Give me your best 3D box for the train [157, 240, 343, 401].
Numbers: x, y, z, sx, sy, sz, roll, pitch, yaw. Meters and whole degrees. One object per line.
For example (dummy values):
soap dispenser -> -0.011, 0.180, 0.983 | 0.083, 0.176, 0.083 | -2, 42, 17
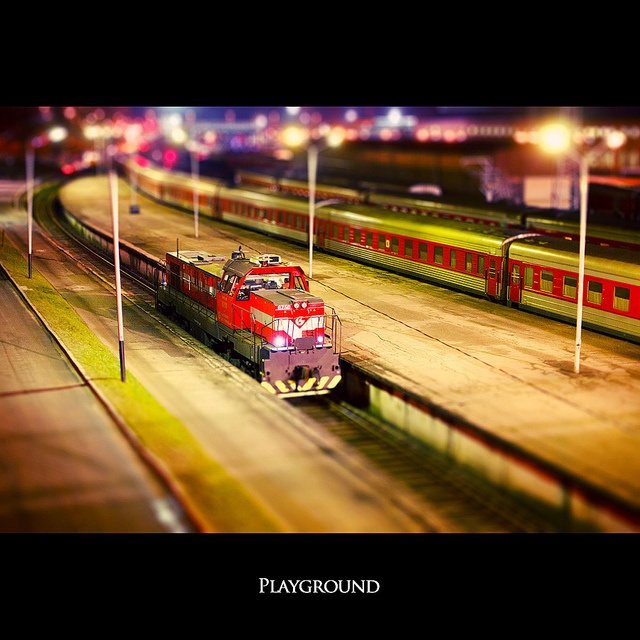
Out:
train -> -2.382, -0.670, 21.099 | 2.638, 3.356, 9.248 | -6, 17, -25
